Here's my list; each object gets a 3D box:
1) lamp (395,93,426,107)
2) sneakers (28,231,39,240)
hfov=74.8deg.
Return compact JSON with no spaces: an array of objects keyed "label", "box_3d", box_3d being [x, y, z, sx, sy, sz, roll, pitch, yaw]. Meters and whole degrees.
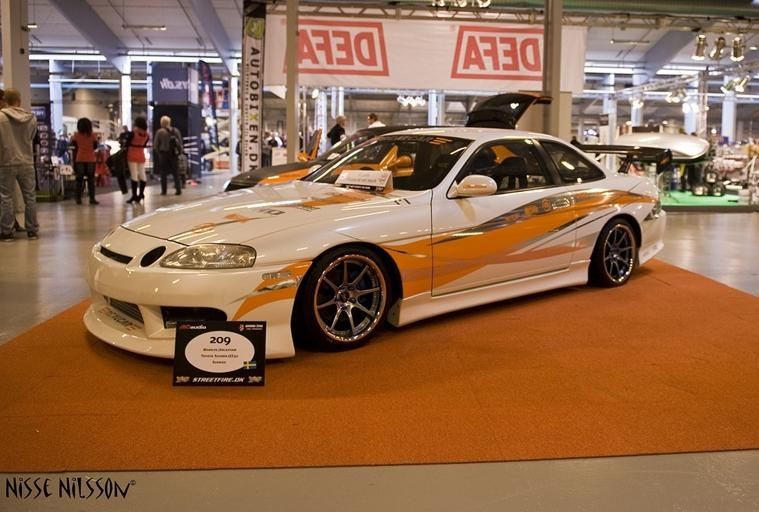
[{"label":"lamp","box_3d":[1.211,-6.120,19.325,1.233,0.591,1.614,1,11,-1]},{"label":"sneakers","box_3d":[-5.000,-0.316,7.206,0.225,0.097,0.081,1,4,42]}]
